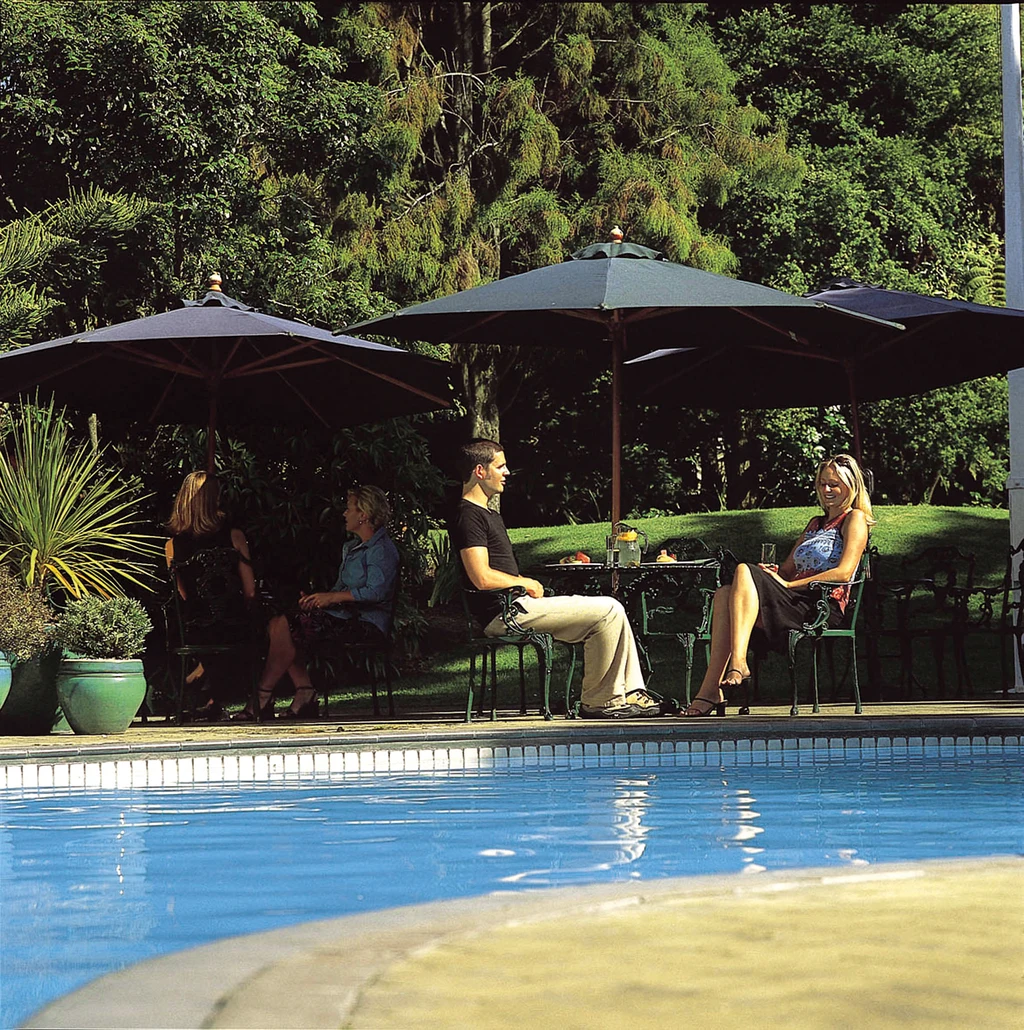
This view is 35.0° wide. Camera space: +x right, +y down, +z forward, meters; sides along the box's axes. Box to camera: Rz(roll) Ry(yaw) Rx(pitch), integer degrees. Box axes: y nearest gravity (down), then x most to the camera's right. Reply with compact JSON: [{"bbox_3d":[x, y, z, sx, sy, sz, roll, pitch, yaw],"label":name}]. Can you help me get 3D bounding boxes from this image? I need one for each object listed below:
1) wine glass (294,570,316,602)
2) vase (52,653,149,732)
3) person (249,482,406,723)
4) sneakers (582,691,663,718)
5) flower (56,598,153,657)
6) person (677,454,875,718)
[{"bbox_3d":[-1.429,0.477,11.073,0.131,0.139,0.143,-22,10,19],"label":"wine glass"},{"bbox_3d":[-2.173,0.976,8.626,0.474,0.373,0.481,-3,-4,-17],"label":"vase"},{"bbox_3d":[-1.086,0.505,9.517,0.836,1.062,0.584,-1,-1,13],"label":"person"},{"bbox_3d":[0.582,1.030,8.769,0.441,0.210,0.151,3,-7,0],"label":"sneakers"},{"bbox_3d":[-2.151,0.581,8.584,0.371,0.320,0.349,3,1,-45],"label":"flower"},{"bbox_3d":[1.476,0.369,8.817,1.166,1.291,0.634,-1,-1,-39],"label":"person"}]
